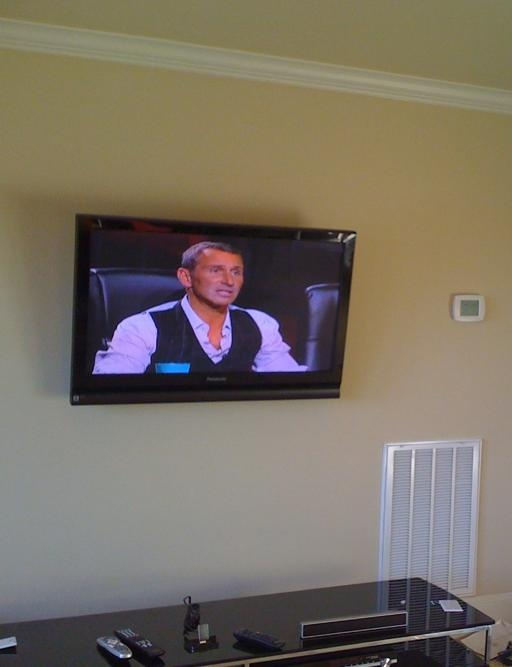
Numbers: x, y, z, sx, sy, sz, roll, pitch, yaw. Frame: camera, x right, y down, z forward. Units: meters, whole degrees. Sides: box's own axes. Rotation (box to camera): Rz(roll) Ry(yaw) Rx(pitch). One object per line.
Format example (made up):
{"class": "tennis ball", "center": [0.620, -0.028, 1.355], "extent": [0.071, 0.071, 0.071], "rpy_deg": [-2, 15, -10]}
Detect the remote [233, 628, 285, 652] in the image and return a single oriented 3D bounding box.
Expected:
{"class": "remote", "center": [0.002, 1.083, 2.627], "extent": [0.123, 0.035, 0.064], "rpy_deg": [-2, -6, 13]}

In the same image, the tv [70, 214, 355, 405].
{"class": "tv", "center": [-0.208, -0.100, 2.893], "extent": [0.998, 0.536, 0.060], "rpy_deg": [2, 12, -20]}
